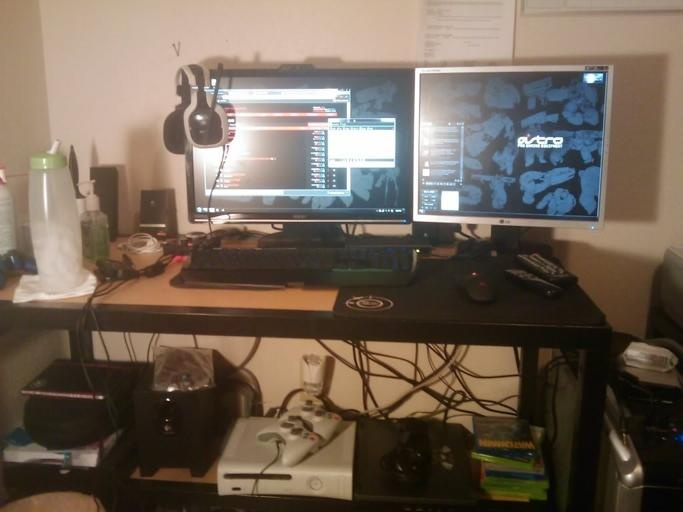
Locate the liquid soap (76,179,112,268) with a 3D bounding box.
[{"bbox_3d":[-0.823,-0.119,1.999,0.098,0.262,0.102,-1,17,-10],"label":"liquid soap"}]

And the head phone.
[{"bbox_3d":[-0.457,-0.479,1.999,0.179,0.296,0.330,-6,3,-13],"label":"head phone"}]

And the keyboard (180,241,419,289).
[{"bbox_3d":[-0.164,0.028,1.889,0.783,0.070,0.255,0,17,10],"label":"keyboard"}]

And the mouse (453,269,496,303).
[{"bbox_3d":[0.389,0.081,1.744,0.065,0.039,0.107,-18,24,-7],"label":"mouse"}]

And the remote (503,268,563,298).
[{"bbox_3d":[0.569,0.068,1.762,0.052,0.042,0.162,-21,41,-22],"label":"remote"}]

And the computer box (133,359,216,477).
[{"bbox_3d":[-0.527,0.543,2.062,0.238,0.358,0.475,1,10,-1],"label":"computer box"}]

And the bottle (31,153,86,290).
[{"bbox_3d":[-0.824,-0.112,1.798,0.164,0.366,0.169,0,7,0],"label":"bottle"}]

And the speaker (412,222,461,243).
[{"bbox_3d":[0.333,-0.083,2.102,0.140,0.077,0.094,-1,-4,4],"label":"speaker"}]

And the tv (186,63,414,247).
[{"bbox_3d":[-0.134,-0.336,1.943,0.602,0.427,0.029,0,9,3],"label":"tv"}]
